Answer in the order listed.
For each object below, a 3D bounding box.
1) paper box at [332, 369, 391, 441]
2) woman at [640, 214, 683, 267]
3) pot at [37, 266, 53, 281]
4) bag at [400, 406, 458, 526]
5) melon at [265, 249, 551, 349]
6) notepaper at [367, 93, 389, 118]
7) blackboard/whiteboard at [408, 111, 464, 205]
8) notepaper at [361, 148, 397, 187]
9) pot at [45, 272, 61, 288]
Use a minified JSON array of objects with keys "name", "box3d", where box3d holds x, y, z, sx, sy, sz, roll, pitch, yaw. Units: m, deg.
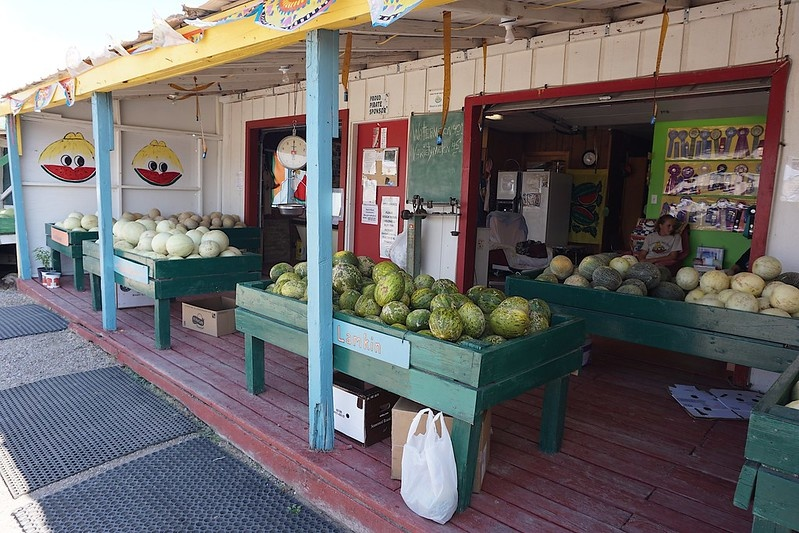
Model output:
[{"name":"paper box","box3d":[-0.269,1.165,4.200,0.477,0.294,0.476,8,7,41]},{"name":"woman","box3d":[3.728,-0.359,7.143,0.559,0.804,0.679,12,6,39]},{"name":"pot","box3d":[-6.125,0.121,8.594,0.322,0.229,0.273,3,0,-28]},{"name":"bag","box3d":[0.242,1.377,3.522,0.354,0.690,0.499,7,-11,-28]},{"name":"melon","box3d":[0.075,0.252,4.108,1.757,0.428,0.974,10,9,37]},{"name":"notepaper","box3d":[-0.318,-2.460,7.611,0.447,0.346,0.021,6,6,45]},{"name":"blackboard/whiteboard","box3d":[0.486,-1.518,7.055,0.998,1.279,0.031,-8,19,-27]},{"name":"notepaper","box3d":[-0.312,-1.550,7.783,0.761,0.580,0.040,7,9,40]},{"name":"pot","box3d":[-5.721,0.221,8.224,0.225,0.238,0.280,-2,-7,43]}]
